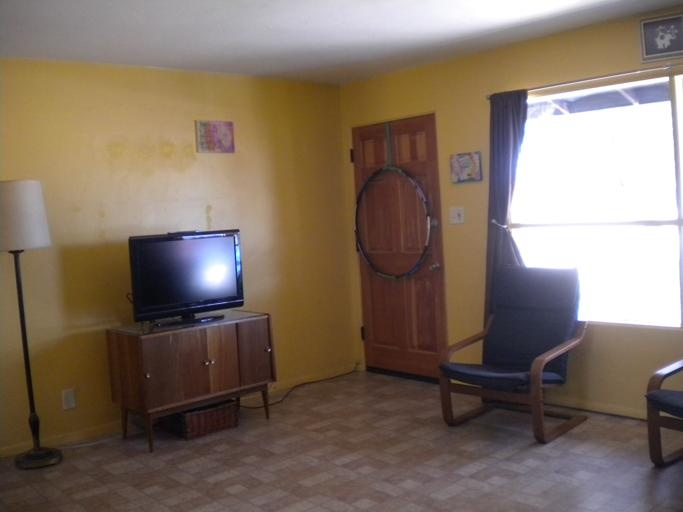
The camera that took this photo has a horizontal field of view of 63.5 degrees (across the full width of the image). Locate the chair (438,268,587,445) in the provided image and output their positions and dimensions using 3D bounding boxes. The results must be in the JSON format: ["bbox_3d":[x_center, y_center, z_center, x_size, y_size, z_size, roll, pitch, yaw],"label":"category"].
[{"bbox_3d":[1.349,0.738,4.370,0.986,1.239,0.888,-6,5,-43],"label":"chair"}]

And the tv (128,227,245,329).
[{"bbox_3d":[-1.314,0.186,4.675,0.219,0.769,1.024,1,5,45],"label":"tv"}]

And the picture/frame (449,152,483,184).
[{"bbox_3d":[1.152,-0.806,5.040,0.310,0.268,0.045,4,7,39],"label":"picture/frame"}]

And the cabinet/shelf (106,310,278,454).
[{"bbox_3d":[-1.228,0.946,4.703,1.216,0.725,0.631,-4,2,-43],"label":"cabinet/shelf"}]
